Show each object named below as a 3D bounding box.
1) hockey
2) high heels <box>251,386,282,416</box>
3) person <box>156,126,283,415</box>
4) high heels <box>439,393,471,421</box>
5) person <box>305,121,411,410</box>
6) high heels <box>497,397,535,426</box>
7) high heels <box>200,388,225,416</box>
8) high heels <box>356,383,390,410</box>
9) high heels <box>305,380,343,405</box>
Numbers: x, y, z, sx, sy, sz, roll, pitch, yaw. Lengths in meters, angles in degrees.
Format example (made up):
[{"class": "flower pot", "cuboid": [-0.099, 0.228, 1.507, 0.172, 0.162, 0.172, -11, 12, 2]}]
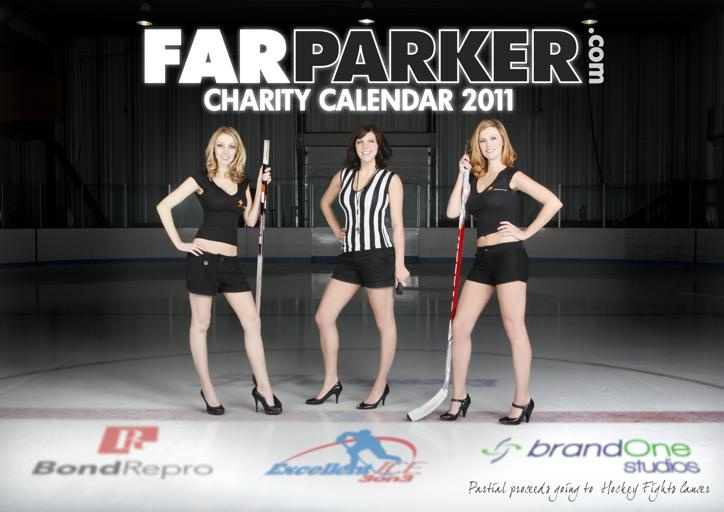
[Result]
[{"class": "hockey", "cuboid": [0.356, 0.282, 3.430, 0.316, 1.618, 0.059, -2, 12, 24]}, {"class": "high heels", "cuboid": [-0.669, 0.968, 3.679, 0.100, 0.163, 0.289, 3, -2, -41]}, {"class": "person", "cuboid": [-0.934, 0.094, 3.638, 0.817, 1.871, 0.333, 1, 2, -9]}, {"class": "high heels", "cuboid": [0.613, 0.997, 3.611, 0.265, 0.203, 0.092, 1, -5, -31]}, {"class": "person", "cuboid": [-0.016, 0.077, 3.761, 0.667, 1.931, 0.379, 2, 2, 9]}, {"class": "high heels", "cuboid": [0.984, 0.991, 3.503, 0.257, 0.201, 0.106, 1, 0, -10]}, {"class": "high heels", "cuboid": [-0.978, 0.960, 3.592, 0.152, 0.150, 0.120, 1, 3, -16]}, {"class": "high heels", "cuboid": [0.095, 0.973, 3.799, 0.253, 0.194, 0.109, 0, 1, -17]}, {"class": "high heels", "cuboid": [-0.246, 0.974, 3.904, 0.320, 0.215, 0.110, -2, -2, -3]}]
